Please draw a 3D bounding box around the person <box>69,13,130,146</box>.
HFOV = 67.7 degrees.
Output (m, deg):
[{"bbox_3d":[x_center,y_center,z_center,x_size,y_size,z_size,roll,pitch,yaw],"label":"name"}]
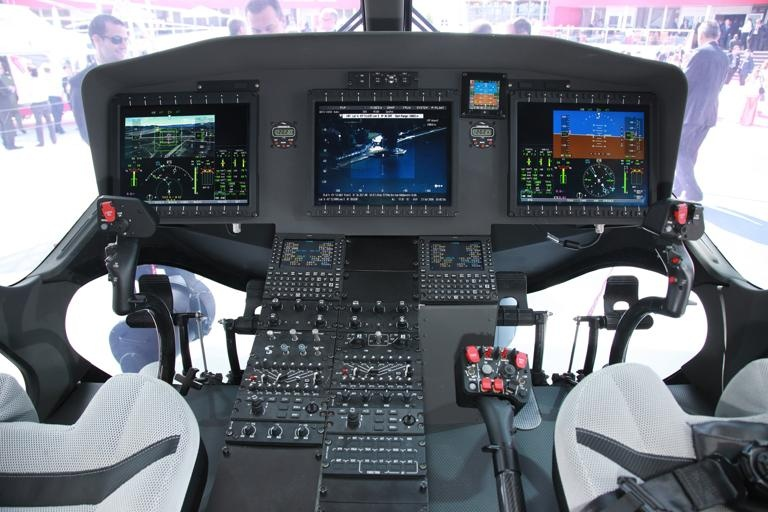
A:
[{"bbox_3d":[-1.715,-1.102,3.464,0.326,0.876,0.930,-1,8,-23],"label":"person"}]
